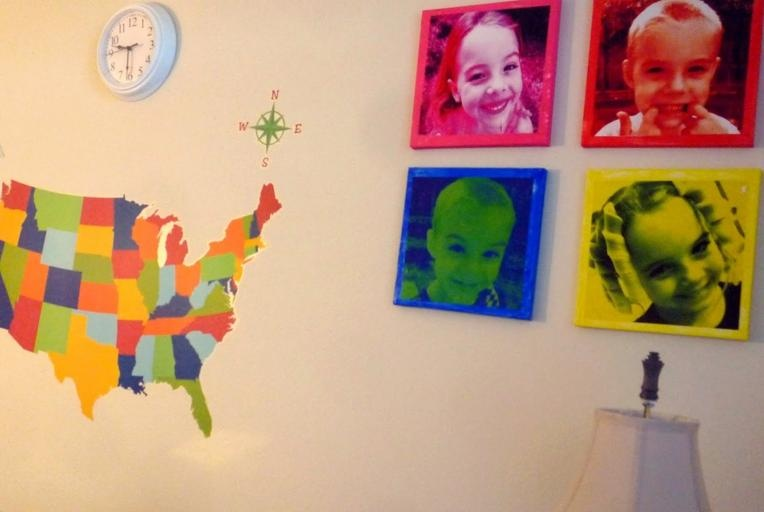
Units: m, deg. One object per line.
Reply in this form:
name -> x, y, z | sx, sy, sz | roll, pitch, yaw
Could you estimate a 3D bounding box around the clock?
clock -> -1.093, -0.916, 3.212 | 0.489, 0.455, 0.096 | -4, -9, 23
